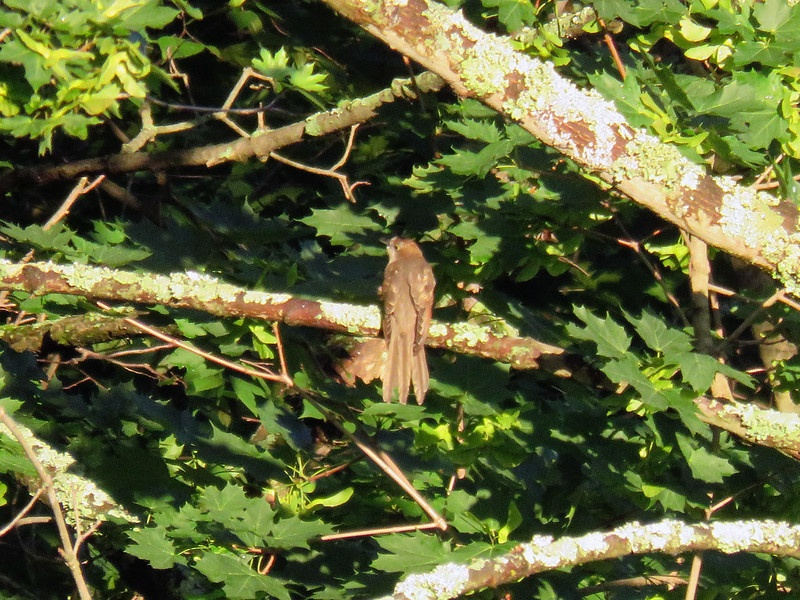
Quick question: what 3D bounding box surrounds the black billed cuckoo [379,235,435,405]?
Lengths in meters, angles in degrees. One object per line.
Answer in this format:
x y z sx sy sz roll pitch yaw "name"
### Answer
0.029 0.068 8.885 0.306 0.377 0.925 -4 68 9 "black billed cuckoo"
